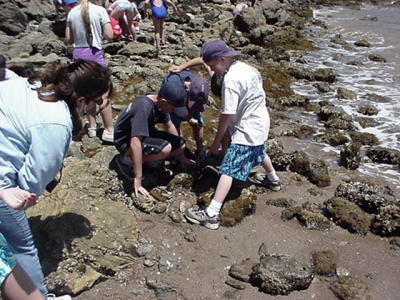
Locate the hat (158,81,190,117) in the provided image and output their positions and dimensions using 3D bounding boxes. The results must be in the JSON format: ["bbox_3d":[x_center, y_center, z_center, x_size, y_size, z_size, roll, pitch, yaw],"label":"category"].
[{"bbox_3d":[-0.387,-0.796,5.403,0.532,0.307,0.369,51,41,-2],"label":"hat"}]

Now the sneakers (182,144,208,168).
[{"bbox_3d":[-0.076,0.119,6.123,0.190,0.271,0.623,-35,15,-26],"label":"sneakers"}]

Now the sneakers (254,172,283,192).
[{"bbox_3d":[1.174,0.538,6.209,0.480,0.213,0.223,31,35,20],"label":"sneakers"}]

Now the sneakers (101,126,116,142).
[{"bbox_3d":[-1.601,-0.233,6.143,0.140,0.176,0.367,12,10,25],"label":"sneakers"}]

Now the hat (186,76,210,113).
[{"bbox_3d":[-0.033,-0.886,5.681,0.302,0.533,0.269,1,8,-23],"label":"hat"}]

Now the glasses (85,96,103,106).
[{"bbox_3d":[-1.223,-0.573,4.137,0.142,0.078,0.089,-14,27,-32],"label":"glasses"}]

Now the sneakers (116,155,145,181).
[{"bbox_3d":[-1.115,0.246,5.653,0.395,0.203,0.255,51,38,-8],"label":"sneakers"}]

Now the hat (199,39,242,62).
[{"bbox_3d":[0.262,-1.440,5.355,0.475,0.208,0.328,-10,40,5],"label":"hat"}]
